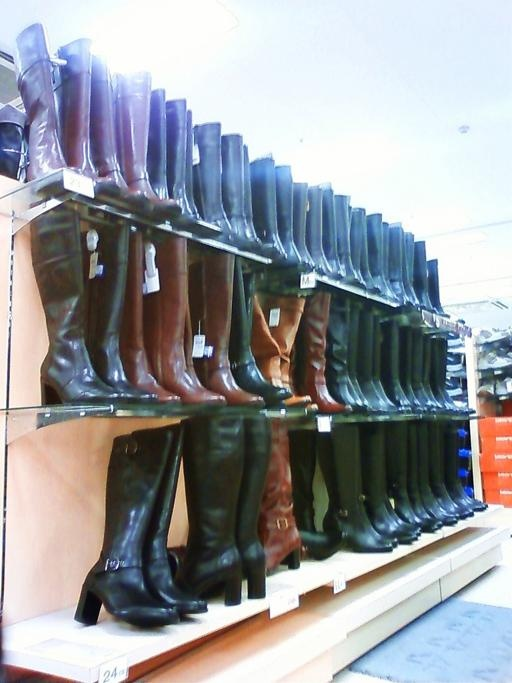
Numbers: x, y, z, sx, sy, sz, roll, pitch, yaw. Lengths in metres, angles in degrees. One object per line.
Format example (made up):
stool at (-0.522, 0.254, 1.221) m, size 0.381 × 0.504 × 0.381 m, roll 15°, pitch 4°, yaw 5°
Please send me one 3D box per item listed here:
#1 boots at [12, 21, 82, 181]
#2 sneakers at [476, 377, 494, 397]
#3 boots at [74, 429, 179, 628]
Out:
boots at (-0.431, -0.457, 1.093) m, size 0.060 × 0.345 × 0.148 m, roll 4°, pitch -12°, yaw -44°
sneakers at (1.504, 0.314, 3.601) m, size 0.069 × 0.203 × 0.210 m, roll -2°, pitch -2°, yaw 42°
boots at (-0.254, 0.360, 1.098) m, size 0.214 × 0.361 × 0.255 m, roll -5°, pitch -10°, yaw 0°
